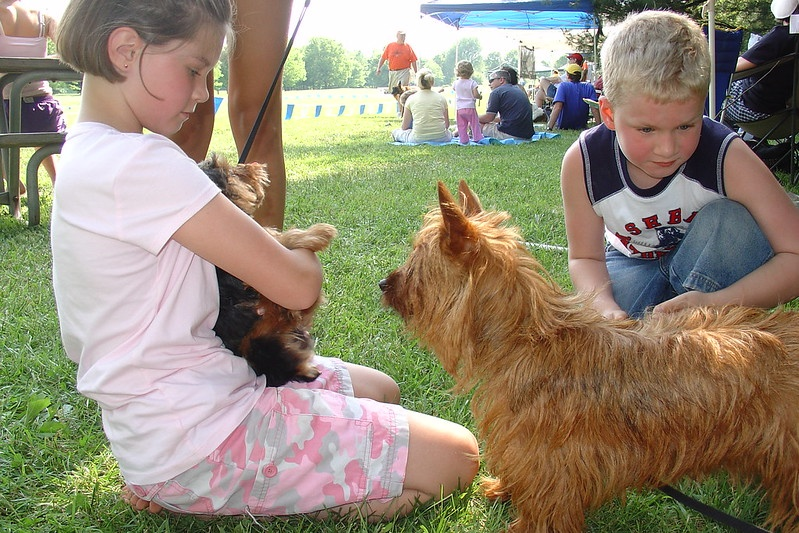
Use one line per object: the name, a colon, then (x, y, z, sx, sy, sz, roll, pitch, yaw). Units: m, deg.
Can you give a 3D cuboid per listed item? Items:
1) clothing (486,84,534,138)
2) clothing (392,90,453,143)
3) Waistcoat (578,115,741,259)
clothing: (2.653, -3.616, 14.021, 1.025, 1.267, 1.201, -10, 15, -21)
clothing: (0.545, -3.514, 14.114, 1.489, 1.781, 1.258, -2, 22, -3)
Waistcoat: (1.378, -0.453, 3.326, 0.600, 0.603, 0.345, -16, 28, 25)
